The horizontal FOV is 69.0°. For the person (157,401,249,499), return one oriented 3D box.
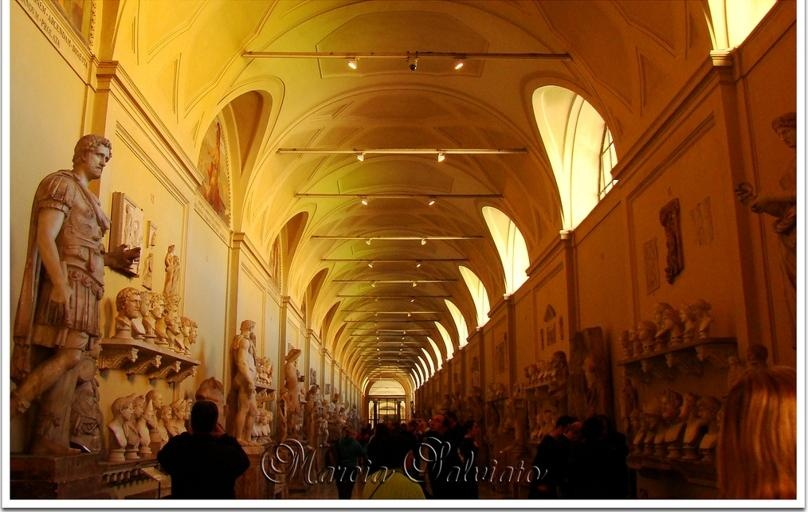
[{"bbox_3d":[-1.952,1.912,5.859,0.891,1.114,0.537,4,13,-3],"label":"person"}]
